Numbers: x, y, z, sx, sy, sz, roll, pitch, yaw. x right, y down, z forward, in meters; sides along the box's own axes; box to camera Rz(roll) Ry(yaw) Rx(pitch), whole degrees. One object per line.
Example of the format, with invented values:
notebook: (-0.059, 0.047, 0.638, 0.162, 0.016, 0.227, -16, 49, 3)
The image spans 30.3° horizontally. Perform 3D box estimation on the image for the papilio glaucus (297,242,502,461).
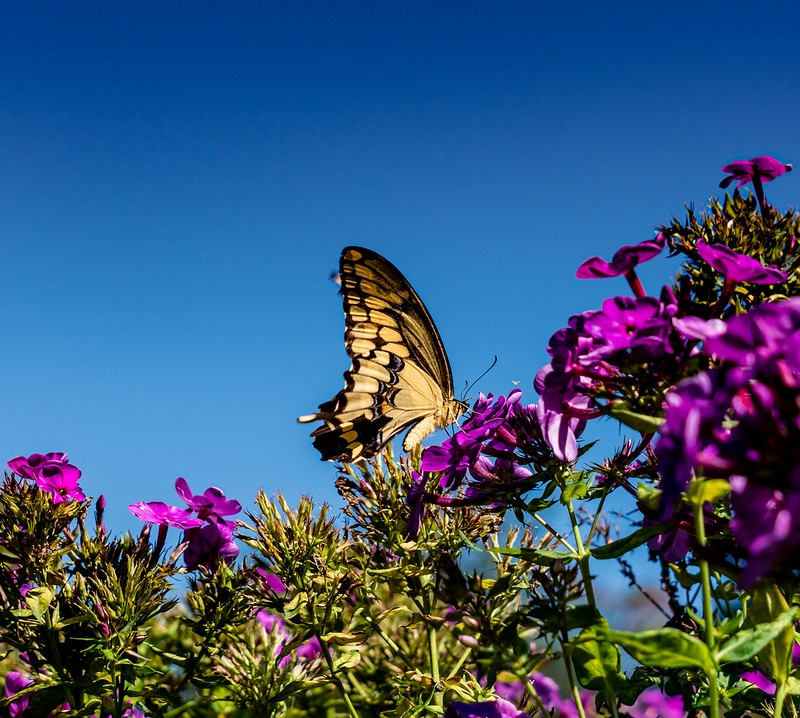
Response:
papilio glaucus: (-0.046, 0.017, 5.795, 0.746, 0.837, 0.649, 1, -1, 16)
